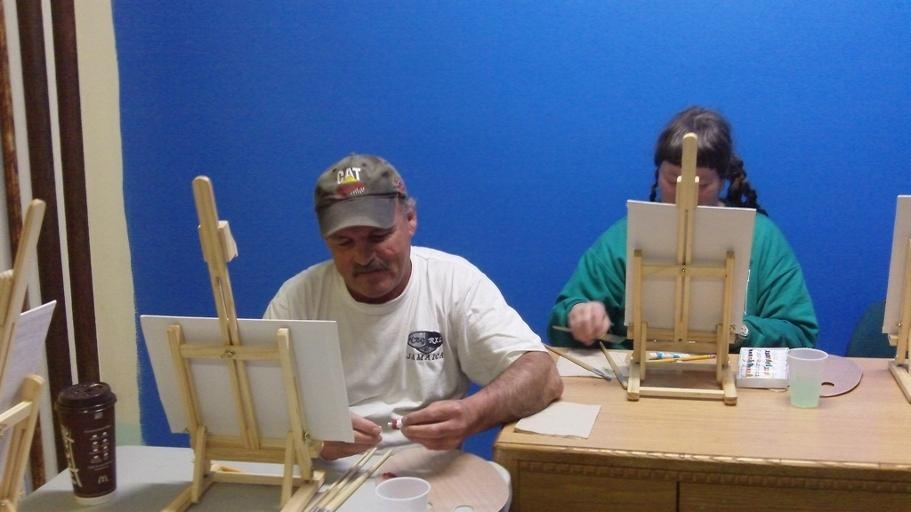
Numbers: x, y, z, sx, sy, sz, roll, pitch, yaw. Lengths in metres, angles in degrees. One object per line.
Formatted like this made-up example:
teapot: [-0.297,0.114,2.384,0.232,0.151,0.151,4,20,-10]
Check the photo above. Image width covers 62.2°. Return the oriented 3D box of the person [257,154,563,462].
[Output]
person: [-0.244,0.267,3.246,1.507,1.224,1.112,0,10,20]

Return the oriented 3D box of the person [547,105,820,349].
person: [1.171,-0.104,3.963,1.416,1.143,0.898,5,15,30]

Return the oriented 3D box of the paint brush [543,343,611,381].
paint brush: [0.558,0.485,3.425,0.018,0.052,0.390,-11,24,-27]

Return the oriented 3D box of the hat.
hat: [-0.408,-0.273,3.263,0.307,0.230,0.405,-6,5,5]

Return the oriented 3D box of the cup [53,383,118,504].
cup: [-1.380,0.706,2.866,0.195,0.443,0.141,-9,10,-28]
